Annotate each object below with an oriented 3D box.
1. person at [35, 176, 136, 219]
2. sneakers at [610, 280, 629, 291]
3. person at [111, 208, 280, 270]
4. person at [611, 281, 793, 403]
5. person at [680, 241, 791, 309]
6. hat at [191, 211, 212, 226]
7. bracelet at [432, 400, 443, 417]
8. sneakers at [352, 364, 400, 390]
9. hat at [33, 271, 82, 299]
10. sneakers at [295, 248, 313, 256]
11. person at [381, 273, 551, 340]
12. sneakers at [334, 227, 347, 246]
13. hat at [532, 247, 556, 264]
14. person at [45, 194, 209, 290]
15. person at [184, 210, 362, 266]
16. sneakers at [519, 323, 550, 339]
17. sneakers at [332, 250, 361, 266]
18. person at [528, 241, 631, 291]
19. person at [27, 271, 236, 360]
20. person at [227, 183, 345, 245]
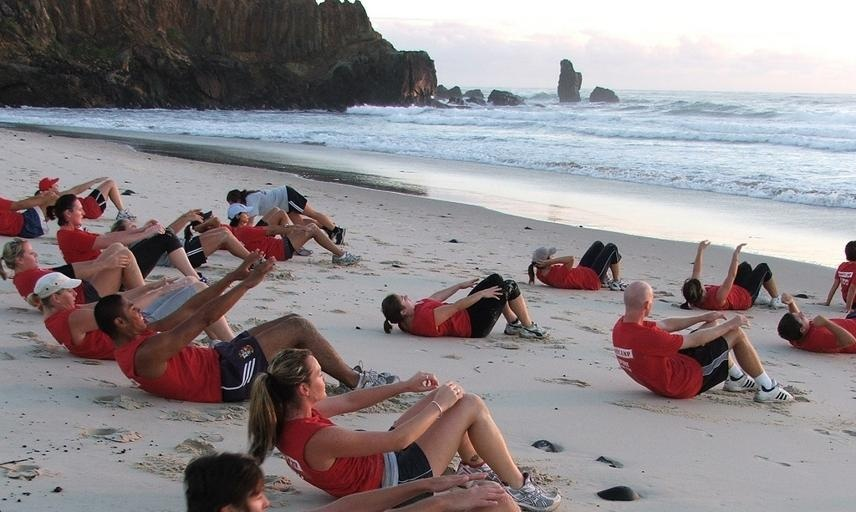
[{"bbox_3d":[-6.223,-1.016,12.563,1.480,0.548,1.455,7,16,39],"label":"person"},{"bbox_3d":[3.355,0.508,11.835,0.431,0.130,0.134,-1,8,-17],"label":"sneakers"},{"bbox_3d":[-3.516,-0.259,10.563,2.662,0.755,0.695,-4,2,-1],"label":"person"},{"bbox_3d":[3.291,1.073,8.310,2.451,1.185,0.967,1,1,-20],"label":"person"},{"bbox_3d":[5.071,0.398,11.360,2.220,0.914,0.898,-8,4,-24],"label":"person"},{"bbox_3d":[-3.750,-0.614,11.654,0.297,0.227,0.712,-1,4,2],"label":"hat"},{"bbox_3d":[0.106,1.290,5.907,0.122,0.031,0.096,35,7,7],"label":"bracelet"},{"bbox_3d":[-0.636,1.291,7.392,0.662,0.184,0.186,-3,10,-13],"label":"sneakers"},{"bbox_3d":[-4.128,0.309,7.664,0.514,0.174,0.266,-13,14,-15],"label":"hat"},{"bbox_3d":[-2.075,-0.057,11.789,0.317,0.085,0.096,0,8,0],"label":"sneakers"},{"bbox_3d":[0.540,0.788,9.348,2.362,0.604,1.155,-5,7,-24],"label":"person"},{"bbox_3d":[-1.479,-0.300,12.015,0.224,0.369,0.130,-3,41,-2],"label":"sneakers"},{"bbox_3d":[1.966,-0.016,11.589,0.442,0.132,0.241,-21,31,-14],"label":"hat"},{"bbox_3d":[-3.943,-0.151,9.559,2.245,0.955,0.622,2,14,-21],"label":"person"},{"bbox_3d":[-2.814,-0.326,11.489,2.197,1.016,0.614,-11,-33,27],"label":"person"},{"bbox_3d":[1.455,1.009,9.285,0.469,0.134,0.150,0,4,3],"label":"sneakers"},{"bbox_3d":[-1.279,0.051,11.496,0.572,0.172,0.173,1,18,-5],"label":"sneakers"},{"bbox_3d":[2.655,0.232,11.922,2.135,0.702,0.689,-9,17,-31],"label":"person"},{"bbox_3d":[-3.298,0.699,8.211,2.706,0.877,0.922,0,10,-28],"label":"person"},{"bbox_3d":[-2.600,-0.745,12.594,2.387,0.685,0.521,5,-3,-26],"label":"person"}]
